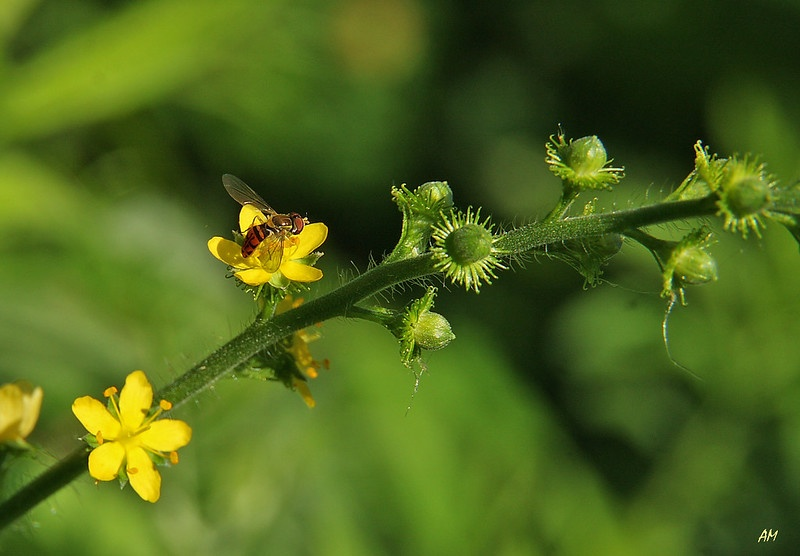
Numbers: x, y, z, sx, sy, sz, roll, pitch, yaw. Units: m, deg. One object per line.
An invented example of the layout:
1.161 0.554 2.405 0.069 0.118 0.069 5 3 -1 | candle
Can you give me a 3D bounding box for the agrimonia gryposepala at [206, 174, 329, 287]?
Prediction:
-0.625 -0.193 3.930 0.569 0.606 0.179 5 -34 -27 | agrimonia gryposepala
